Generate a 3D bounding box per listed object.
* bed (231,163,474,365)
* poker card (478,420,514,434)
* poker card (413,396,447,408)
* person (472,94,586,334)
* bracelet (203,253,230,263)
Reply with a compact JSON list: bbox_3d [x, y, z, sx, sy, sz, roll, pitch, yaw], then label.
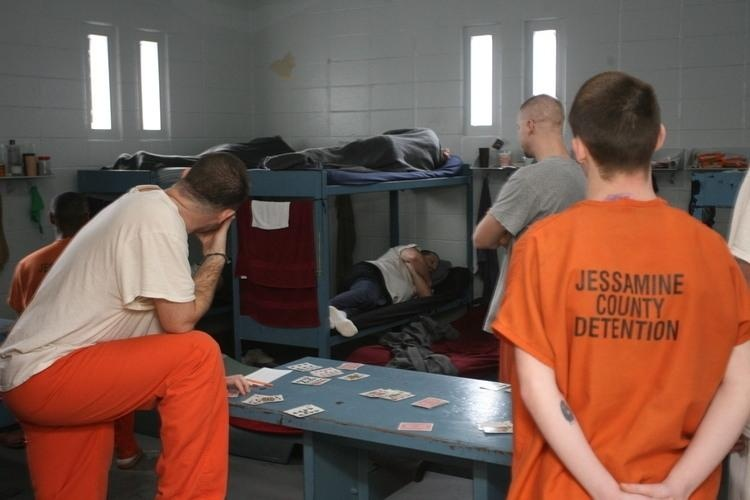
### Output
[{"bbox_3d":[-0.129,-0.042,6.274,1.242,1.686,2.918,5,13,36],"label":"bed"},{"bbox_3d":[0.536,0.792,2.720,0.092,0.015,0.092,-2,7,6],"label":"poker card"},{"bbox_3d":[0.268,0.748,2.990,0.156,0.010,0.126,-11,13,-41],"label":"poker card"},{"bbox_3d":[0.877,0.063,3.575,0.688,1.827,0.495,-14,29,-22],"label":"person"},{"bbox_3d":[-0.816,0.042,3.144,0.102,0.025,0.101,6,9,32],"label":"bracelet"}]
